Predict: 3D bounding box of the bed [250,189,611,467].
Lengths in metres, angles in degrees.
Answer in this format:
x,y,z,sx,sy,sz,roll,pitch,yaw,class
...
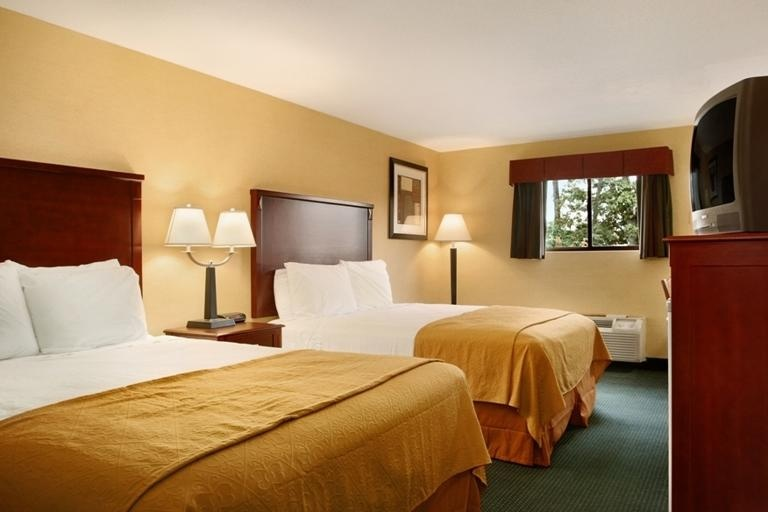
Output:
x,y,z,sx,sy,sz,roll,pitch,yaw,class
0.389,0.458,4.928,2.879,1.958,2.280,-2,-2,24,bed

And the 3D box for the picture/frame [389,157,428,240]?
x,y,z,sx,sy,sz,roll,pitch,yaw,class
0.298,-0.772,6.746,0.062,1.305,1.168,-1,-2,34,picture/frame

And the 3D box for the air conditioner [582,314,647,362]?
x,y,z,sx,sy,sz,roll,pitch,yaw,class
2.792,0.988,6.245,0.685,0.494,0.412,-7,1,44,air conditioner
